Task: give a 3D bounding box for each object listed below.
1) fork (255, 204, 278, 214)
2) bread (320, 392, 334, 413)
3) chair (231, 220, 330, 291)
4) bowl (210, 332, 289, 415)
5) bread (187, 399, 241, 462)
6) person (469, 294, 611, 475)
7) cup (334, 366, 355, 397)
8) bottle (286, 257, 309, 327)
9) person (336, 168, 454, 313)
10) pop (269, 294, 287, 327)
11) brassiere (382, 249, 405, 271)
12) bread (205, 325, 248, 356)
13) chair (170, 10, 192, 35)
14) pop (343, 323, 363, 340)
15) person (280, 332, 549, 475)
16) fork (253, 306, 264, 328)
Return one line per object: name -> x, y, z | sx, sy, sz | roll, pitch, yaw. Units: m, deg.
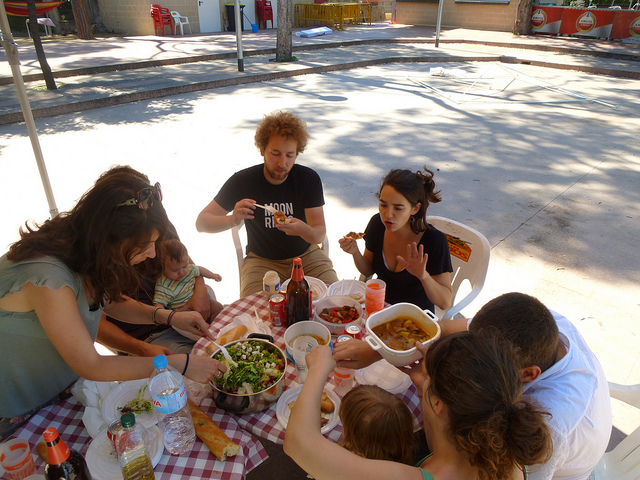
fork -> -0.457, -0.283, 3.569 | 0.221, 0.067, 0.071 | 16, 55, 28
bread -> 0.036, 0.852, 2.202 | 0.083, 0.031, 0.086 | 17, 34, 21
chair -> -0.372, -0.024, 4.180 | 0.704, 1.063, 0.720 | -13, 18, -36
bowl -> -0.372, 0.712, 2.253 | 0.340, 0.164, 0.416 | 9, 36, 10
bread -> -0.597, 0.973, 2.188 | 0.117, 0.078, 0.527 | -33, 29, -32
person -> 1.058, 0.723, 2.026 | 0.546, 1.000, 0.656 | -2, 45, 34
cup -> 0.133, 0.771, 2.354 | 0.115, 0.169, 0.119 | 6, 5, -1
bottle -> -0.140, 0.342, 2.598 | 0.145, 0.476, 0.210 | 0, 30, -4
person -> 0.666, 0.033, 3.176 | 0.838, 1.035, 0.623 | 23, 36, 31
pop -> -0.279, 0.453, 2.744 | 0.132, 0.211, 0.131 | 5, 19, 14
brassiere -> 0.574, 0.157, 3.262 | 0.136, 0.131, 0.134 | -9, 9, -8
bread -> -0.572, 0.602, 2.555 | 0.225, 0.067, 0.113 | -35, 41, -31
chair -> -6.345, -9.853, 18.935 | 0.593, 0.989, 0.965 | 8, 31, 10
pop -> 0.194, 0.538, 2.498 | 0.083, 0.080, 0.081 | 0, 36, 0
person -> 0.434, 0.767, 1.868 | 1.062, 0.590, 0.491 | 7, 30, 7
fork -> -0.404, 0.518, 2.734 | 0.041, 0.032, 0.082 | -14, 64, -31
